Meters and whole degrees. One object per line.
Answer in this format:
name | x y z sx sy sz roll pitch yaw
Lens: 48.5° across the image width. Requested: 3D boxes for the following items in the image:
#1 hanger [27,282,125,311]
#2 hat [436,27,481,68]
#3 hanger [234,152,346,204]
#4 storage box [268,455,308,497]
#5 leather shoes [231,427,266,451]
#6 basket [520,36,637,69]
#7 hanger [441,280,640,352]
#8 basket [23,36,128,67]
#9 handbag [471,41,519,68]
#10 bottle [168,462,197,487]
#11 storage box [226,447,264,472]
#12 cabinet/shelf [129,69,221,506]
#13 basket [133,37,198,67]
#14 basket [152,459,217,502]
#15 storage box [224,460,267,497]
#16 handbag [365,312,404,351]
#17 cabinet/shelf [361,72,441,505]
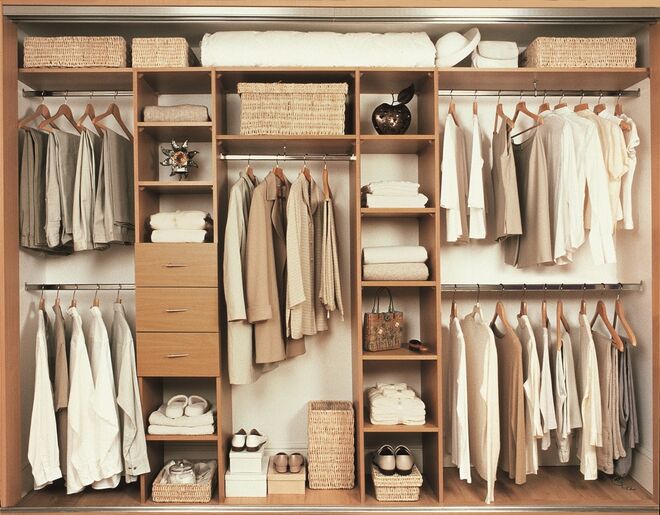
hanger | -1.666 0.209 4.894 0.686 0.119 0.438 -2 -1 -15
hat | 0.825 -1.362 4.781 0.288 0.241 0.208 -2 -1 9
hanger | -0.270 -0.557 4.884 0.871 0.241 0.427 -2 -1 0
storage box | -0.282 1.356 4.753 0.183 0.114 0.335 0 0 -1
leather shoes | -0.545 1.190 4.801 0.171 0.093 0.251 0 0 3
basket | 1.634 -1.322 4.736 0.350 0.119 0.363 0 5 0
hanger | 1.432 0.381 4.921 1.278 0.429 0.424 -2 -1 6
basket | -1.651 -1.314 4.728 0.642 0.220 0.128 -2 -1 -5
handbag | 1.079 -1.334 4.796 0.209 0.076 0.223 0 30 5
bottle | -0.950 1.368 4.687 0.122 0.139 0.121 -3 5 -41
storage box | -0.534 1.280 4.714 0.141 0.094 0.147 0 0 16
cabinet/shelf | -0.984 0.167 4.810 0.600 1.961 0.504 -2 -1 -10
basket | -1.086 -1.308 4.724 0.280 0.101 0.214 0 8 3
basket | -0.957 1.410 4.848 0.381 0.162 0.543 2 13 -6
storage box | -0.538 1.443 4.683 0.266 0.152 0.081 -2 -1 -10
handbag | 0.343 0.479 4.773 0.233 0.245 0.093 0 1 -25
cabinet/shelf | 0.443 0.171 4.852 0.648 2.436 0.604 -2 -1 6
